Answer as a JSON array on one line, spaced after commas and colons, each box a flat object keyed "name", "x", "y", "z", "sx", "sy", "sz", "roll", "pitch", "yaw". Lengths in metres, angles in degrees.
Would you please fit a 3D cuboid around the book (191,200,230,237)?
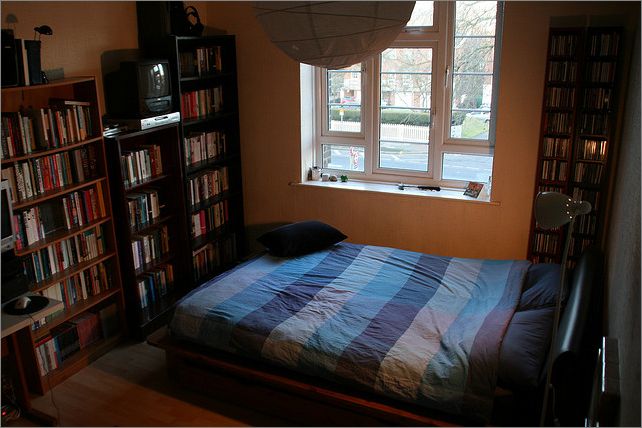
[{"name": "book", "x": -1.304, "y": 0.058, "z": 5.428, "sx": 0.404, "sy": 0.118, "sz": 0.297, "roll": -24, "pitch": 20, "yaw": -31}]

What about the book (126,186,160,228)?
[{"name": "book", "x": -1.792, "y": -0.065, "z": 4.629, "sx": 0.116, "sy": 0.303, "sz": 0.362, "roll": 5, "pitch": 20, "yaw": 19}]

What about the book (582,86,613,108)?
[{"name": "book", "x": 2.477, "y": -1.045, "z": 4.152, "sx": 0.210, "sy": 0.186, "sz": 0.047, "roll": 7, "pitch": 9, "yaw": 26}]

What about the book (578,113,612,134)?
[{"name": "book", "x": 2.473, "y": -0.821, "z": 4.191, "sx": 0.207, "sy": 0.185, "sz": 0.046, "roll": 10, "pitch": 13, "yaw": 23}]

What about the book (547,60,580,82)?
[{"name": "book", "x": 2.217, "y": -1.316, "z": 4.235, "sx": 0.227, "sy": 0.190, "sz": 0.058, "roll": 8, "pitch": 18, "yaw": 17}]

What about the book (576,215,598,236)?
[{"name": "book", "x": 2.466, "y": 0.100, "z": 4.326, "sx": 0.164, "sy": 0.208, "sz": 0.221, "roll": 5, "pitch": 14, "yaw": 24}]

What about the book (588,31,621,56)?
[{"name": "book", "x": 2.492, "y": -1.514, "z": 4.058, "sx": 0.263, "sy": 0.231, "sz": 0.065, "roll": 5, "pitch": 4, "yaw": 26}]

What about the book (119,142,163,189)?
[{"name": "book", "x": -1.797, "y": -0.492, "z": 4.593, "sx": 0.228, "sy": 0.382, "sz": 0.408, "roll": 4, "pitch": 20, "yaw": 20}]

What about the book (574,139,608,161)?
[{"name": "book", "x": 2.476, "y": -0.596, "z": 4.229, "sx": 0.179, "sy": 0.167, "sz": 0.094, "roll": 13, "pitch": 8, "yaw": 11}]

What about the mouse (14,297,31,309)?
[{"name": "mouse", "x": -2.311, "y": 0.697, "z": 3.577, "sx": 0.112, "sy": 0.054, "sz": 0.127, "roll": -9, "pitch": 20, "yaw": -32}]

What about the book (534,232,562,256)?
[{"name": "book", "x": 2.205, "y": 0.294, "z": 4.516, "sx": 0.192, "sy": 0.249, "sz": 0.263, "roll": 7, "pitch": 13, "yaw": 20}]

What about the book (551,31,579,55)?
[{"name": "book", "x": 2.211, "y": -1.562, "z": 4.189, "sx": 0.213, "sy": 0.193, "sz": 0.115, "roll": 1, "pitch": 13, "yaw": 9}]

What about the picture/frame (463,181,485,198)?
[{"name": "picture/frame", "x": 1.666, "y": -0.268, "z": 5.041, "sx": 0.194, "sy": 0.140, "sz": 0.184, "roll": 8, "pitch": 18, "yaw": 18}]

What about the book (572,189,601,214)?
[{"name": "book", "x": 2.059, "y": -0.102, "z": 3.563, "sx": 0.178, "sy": 0.169, "sz": 0.101, "roll": 15, "pitch": 24, "yaw": 22}]

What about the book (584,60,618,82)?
[{"name": "book", "x": 2.487, "y": -1.270, "z": 4.104, "sx": 0.208, "sy": 0.190, "sz": 0.052, "roll": 13, "pitch": 14, "yaw": 32}]

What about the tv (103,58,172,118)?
[{"name": "tv", "x": -1.700, "y": -1.267, "z": 4.626, "sx": 0.613, "sy": 0.601, "sz": 0.572, "roll": 6, "pitch": 18, "yaw": 20}]
